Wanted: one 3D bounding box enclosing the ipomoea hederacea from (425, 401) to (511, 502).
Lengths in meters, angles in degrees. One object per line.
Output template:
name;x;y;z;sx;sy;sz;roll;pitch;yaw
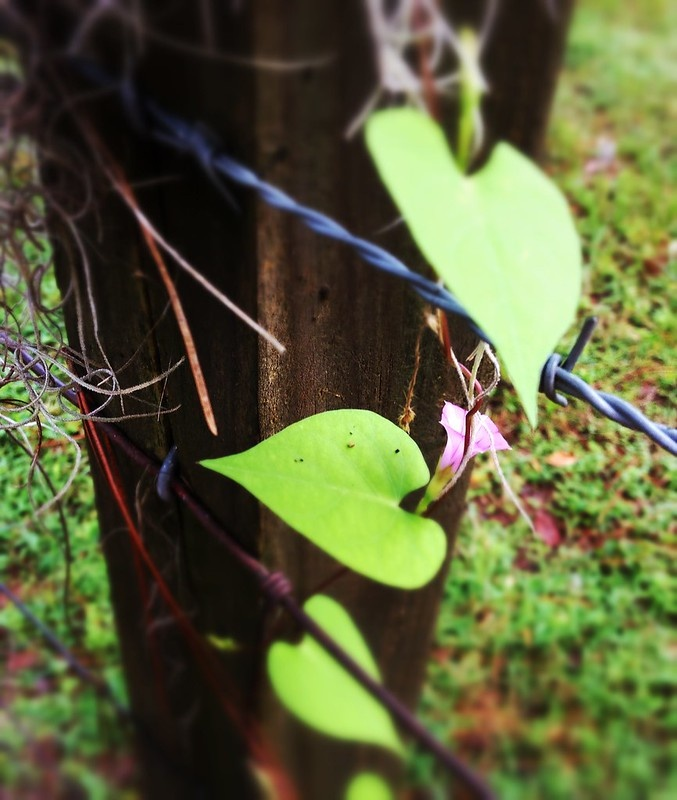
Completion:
ipomoea hederacea;0.089;0.030;0.626;0.055;0.063;0.057;33;20;-5
